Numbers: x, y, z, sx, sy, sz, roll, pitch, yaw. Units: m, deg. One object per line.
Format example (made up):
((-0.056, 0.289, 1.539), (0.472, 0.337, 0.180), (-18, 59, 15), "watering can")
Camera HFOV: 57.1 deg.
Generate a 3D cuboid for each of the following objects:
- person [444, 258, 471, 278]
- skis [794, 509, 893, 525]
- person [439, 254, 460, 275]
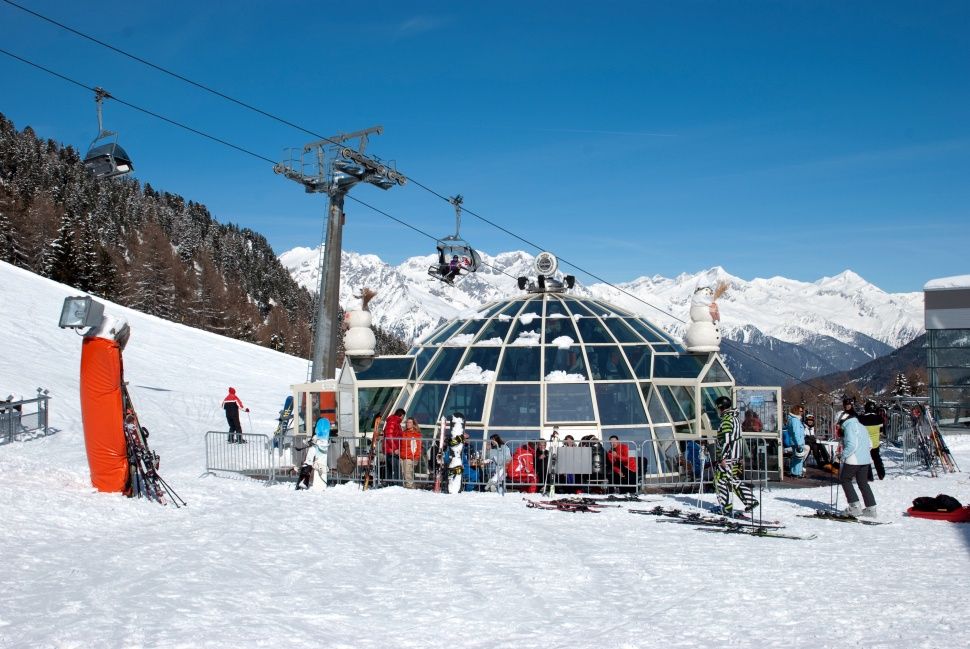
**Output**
((-1.234, -2.369, 37.583), (0.860, 0.395, 1.081), (3, -7, -41), "person")
((8.658, 4.608, 21.463), (1.642, 0.262, 0.302), (-1, -2, 22), "skis")
((-1.608, -2.439, 37.543), (1.001, 0.969, 0.775), (0, -1, 18), "person")
